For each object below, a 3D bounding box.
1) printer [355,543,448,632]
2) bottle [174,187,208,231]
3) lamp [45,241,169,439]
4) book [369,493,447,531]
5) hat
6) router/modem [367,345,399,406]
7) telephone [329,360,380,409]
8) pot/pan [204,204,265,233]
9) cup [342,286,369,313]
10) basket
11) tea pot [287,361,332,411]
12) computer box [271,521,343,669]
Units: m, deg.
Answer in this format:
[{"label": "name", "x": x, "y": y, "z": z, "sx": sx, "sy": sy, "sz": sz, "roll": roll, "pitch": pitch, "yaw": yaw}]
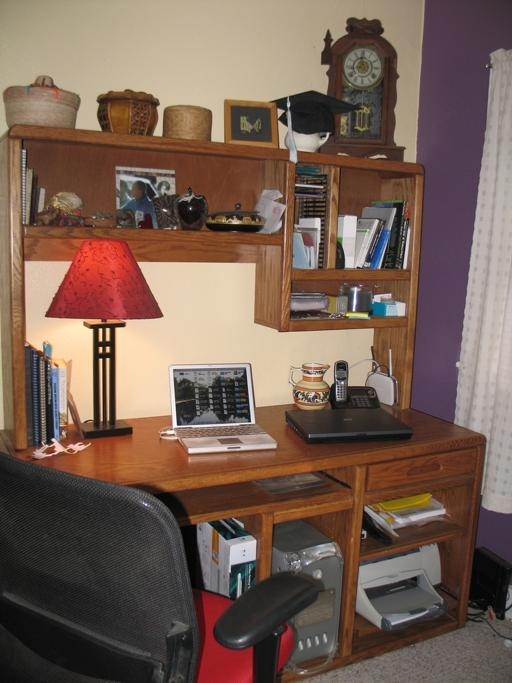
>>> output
[{"label": "printer", "x": 0.482, "y": 0.870, "z": 2.073, "sx": 0.370, "sy": 0.239, "sz": 0.173, "roll": -6, "pitch": 19, "yaw": -24}, {"label": "bottle", "x": -0.202, "y": -0.418, "z": 1.810, "sx": 0.098, "sy": 0.124, "sz": 0.134, "roll": -3, "pitch": 14, "yaw": -6}, {"label": "lamp", "x": -0.477, "y": 0.000, "z": 1.778, "sx": 0.324, "sy": 0.630, "sz": 0.358, "roll": -10, "pitch": 16, "yaw": -30}, {"label": "book", "x": 0.544, "y": 0.608, "z": 2.054, "sx": 0.178, "sy": 0.040, "sz": 0.174, "roll": -4, "pitch": 11, "yaw": -11}, {"label": "hat", "x": 0.221, "y": -0.785, "z": 2.016, "sx": 0.211, "sy": 0.124, "sz": 0.202, "roll": -10, "pitch": 24, "yaw": -22}, {"label": "router/modem", "x": 0.530, "y": 0.146, "z": 2.361, "sx": 0.046, "sy": 0.287, "sz": 0.214, "roll": -4, "pitch": 10, "yaw": -20}, {"label": "telephone", "x": 0.384, "y": 0.169, "z": 2.232, "sx": 0.206, "sy": 0.176, "sz": 0.165, "roll": 1, "pitch": 5, "yaw": -14}, {"label": "pot/pan", "x": -0.074, "y": -0.385, "z": 1.835, "sx": 0.120, "sy": 0.056, "sz": 0.118, "roll": -9, "pitch": 14, "yaw": -41}, {"label": "cup", "x": 0.385, "y": -0.167, "z": 2.181, "sx": 0.109, "sy": 0.097, "sz": 0.106, "roll": 0, "pitch": 8, "yaw": 0}, {"label": "basket", "x": -0.586, "y": -0.648, "z": 1.635, "sx": 0.182, "sy": 0.126, "sz": 0.191, "roll": 12, "pitch": 15, "yaw": 36}, {"label": "tea pot", "x": 0.193, "y": 0.175, "z": 2.252, "sx": 0.189, "sy": 0.172, "sz": 0.145, "roll": 0, "pitch": 5, "yaw": -3}, {"label": "computer box", "x": 0.120, "y": 0.827, "z": 1.941, "sx": 0.211, "sy": 0.347, "sz": 0.336, "roll": 2, "pitch": 2, "yaw": -30}]
